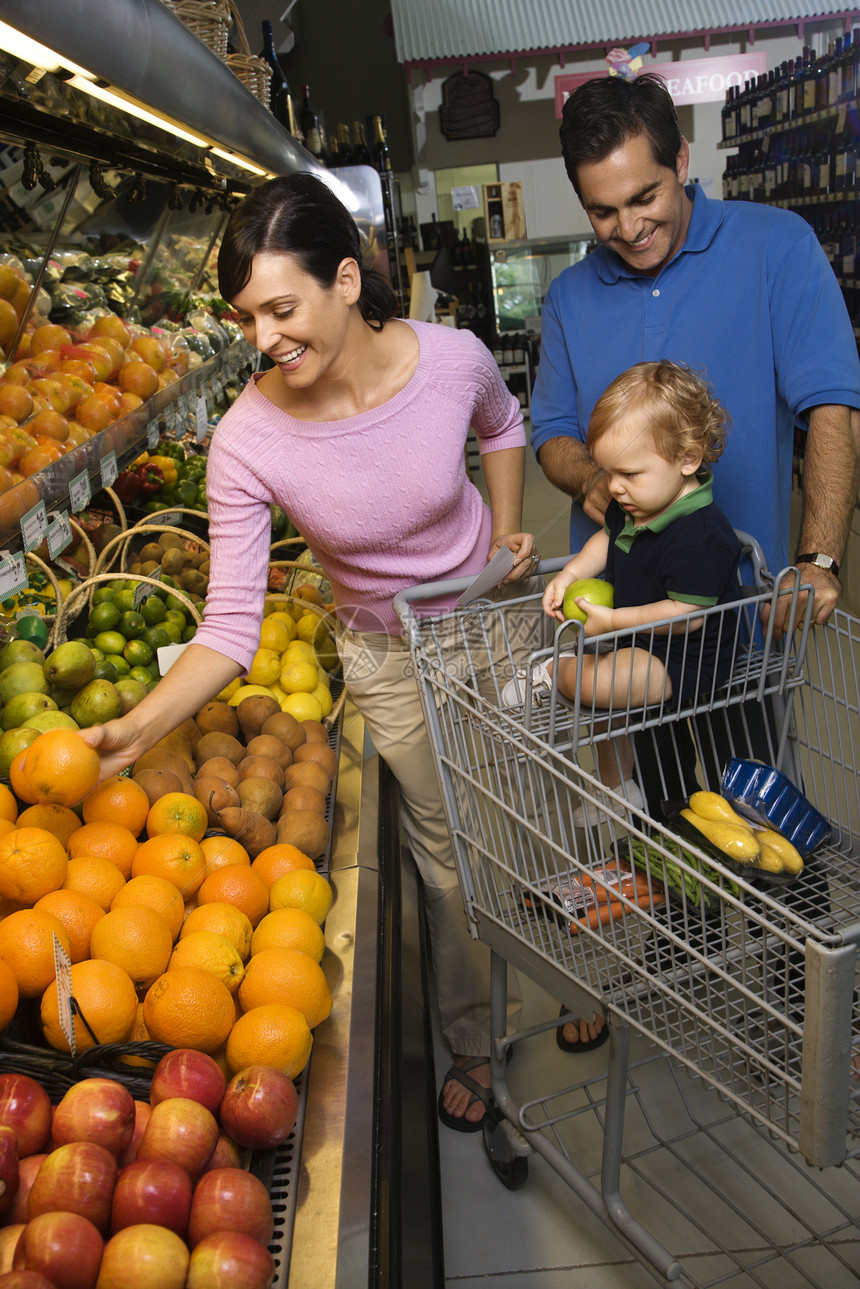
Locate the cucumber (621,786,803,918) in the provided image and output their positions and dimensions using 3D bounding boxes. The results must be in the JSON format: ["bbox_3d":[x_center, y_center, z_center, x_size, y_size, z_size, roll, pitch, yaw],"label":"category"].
[{"bbox_3d":[0.350,0.209,1.205,0.154,0.204,0.203,-13,19,-35],"label":"cucumber"}]

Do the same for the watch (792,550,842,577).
[{"bbox_3d":[0.591,-0.121,1.466,0.056,0.056,0.066,6,-1,24],"label":"watch"}]

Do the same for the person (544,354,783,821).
[{"bbox_3d":[0.422,-0.102,1.554,0.355,0.759,0.341,-12,22,-30],"label":"person"}]

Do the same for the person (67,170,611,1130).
[{"bbox_3d":[-0.113,0.037,1.986,0.843,2.179,0.793,-5,16,-10],"label":"person"}]
